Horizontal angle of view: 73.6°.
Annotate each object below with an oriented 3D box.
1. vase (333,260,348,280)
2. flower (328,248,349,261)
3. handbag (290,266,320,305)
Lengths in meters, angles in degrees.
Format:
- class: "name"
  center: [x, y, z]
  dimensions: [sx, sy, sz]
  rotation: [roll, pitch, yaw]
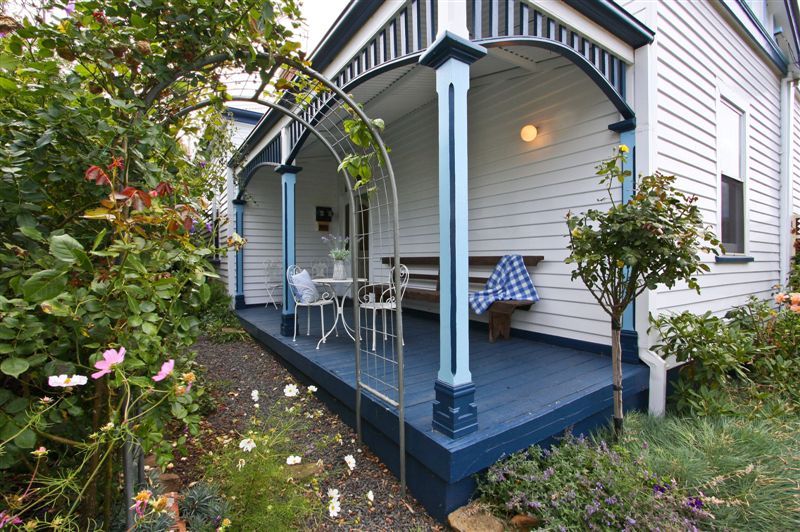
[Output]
- class: "vase"
  center: [-0.752, 0.052, 6.503]
  dimensions: [0.204, 0.233, 0.211]
  rotation: [2, 1, 8]
- class: "flower"
  center: [-0.717, -0.122, 6.456]
  dimensions: [0.172, 0.109, 0.180]
  rotation: [-4, 0, -3]
- class: "handbag"
  center: [-1.172, 0.257, 6.607]
  dimensions: [0.211, 0.403, 0.385]
  rotation: [-13, 14, -21]
